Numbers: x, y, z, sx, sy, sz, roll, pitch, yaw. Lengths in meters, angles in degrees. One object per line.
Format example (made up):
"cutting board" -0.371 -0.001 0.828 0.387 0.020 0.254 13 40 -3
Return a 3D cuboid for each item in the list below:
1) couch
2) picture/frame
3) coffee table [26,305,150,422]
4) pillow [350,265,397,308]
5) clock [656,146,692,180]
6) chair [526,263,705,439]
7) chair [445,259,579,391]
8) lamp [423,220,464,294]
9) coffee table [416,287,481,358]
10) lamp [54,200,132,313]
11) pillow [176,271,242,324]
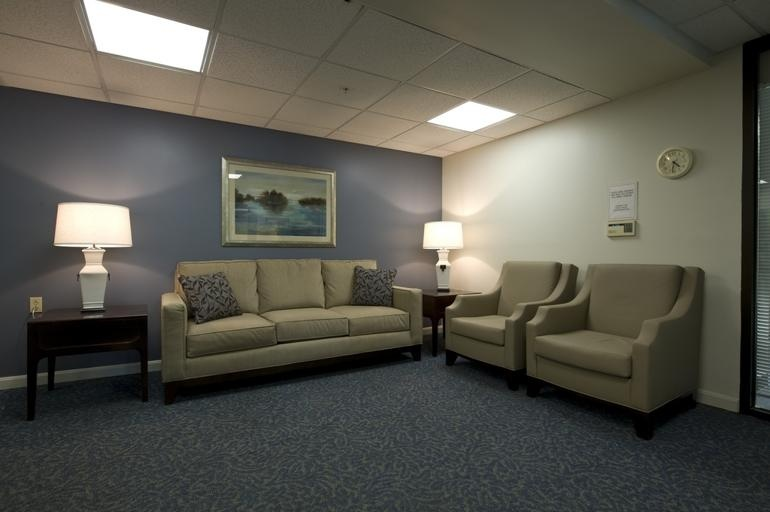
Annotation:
"couch" -1.009 0.695 5.389 2.753 1.320 1.179 -2 3 -26
"picture/frame" -1.351 -0.672 5.775 1.199 0.862 0.043 1 -4 -32
"coffee table" -2.776 0.786 4.602 1.248 1.089 0.879 1 -4 -34
"pillow" -0.140 0.384 5.740 0.506 0.505 0.207 3 -13 4
"clock" 2.797 -0.921 4.588 0.273 0.323 0.035 7 -7 27
"chair" 2.223 0.764 4.585 1.344 1.355 1.341 2 4 44
"chair" 1.405 0.690 5.349 1.170 1.266 1.343 4 3 35
"lamp" 0.801 0.024 6.475 0.588 0.913 0.596 -2 -7 28
"coffee table" 0.685 0.803 6.036 0.937 0.874 0.683 0 1 -29
"lamp" -2.836 0.004 4.601 0.513 1.041 0.428 0 3 11
"pillow" -1.803 0.424 4.923 0.534 0.473 0.340 -3 4 -43
